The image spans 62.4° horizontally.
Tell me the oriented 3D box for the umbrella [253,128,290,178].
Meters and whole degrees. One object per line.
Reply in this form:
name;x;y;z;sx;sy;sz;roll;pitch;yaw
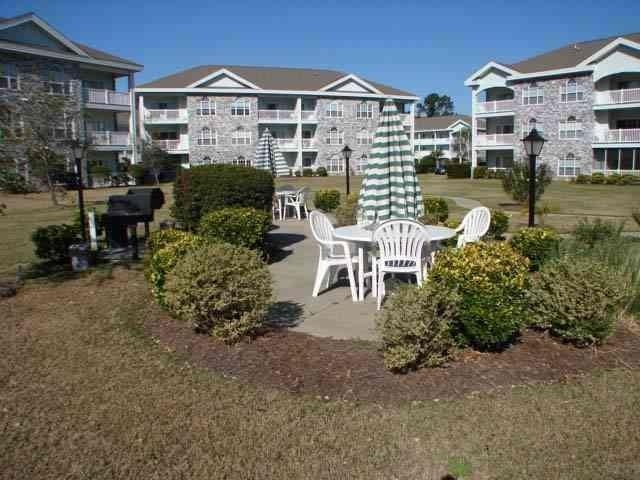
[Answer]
umbrella;-2.517;-4.309;26.417;1.207;2.402;2.339;0;14;5

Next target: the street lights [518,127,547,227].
street lights;4.929;-1.370;12.142;0.597;2.390;0.573;2;10;23

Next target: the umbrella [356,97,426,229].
umbrella;1.317;-1.558;10.313;1.423;2.352;1.480;6;13;44

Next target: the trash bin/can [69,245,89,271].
trash bin/can;-5.065;0.379;11.077;0.423;0.556;0.346;11;15;29

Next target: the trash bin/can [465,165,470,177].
trash bin/can;14.508;-6.789;51.377;0.491;1.191;0.692;12;19;43
